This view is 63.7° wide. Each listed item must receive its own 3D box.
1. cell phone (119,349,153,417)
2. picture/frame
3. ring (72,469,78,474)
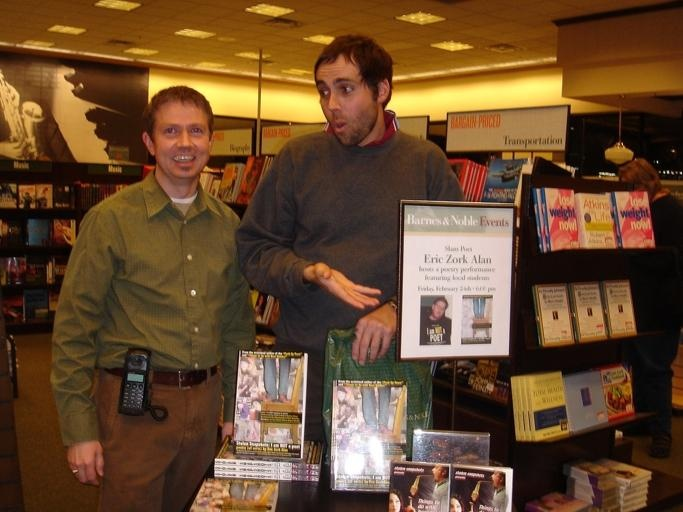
[{"bbox_3d":[-0.760,0.459,2.009,0.107,0.236,0.060,0,-3,-18],"label":"cell phone"},{"bbox_3d":[0.342,0.073,1.661,0.442,0.555,0.040,2,-3,-14],"label":"picture/frame"},{"bbox_3d":[-0.991,0.797,2.040,0.019,0.009,0.028,3,7,0],"label":"ring"}]
